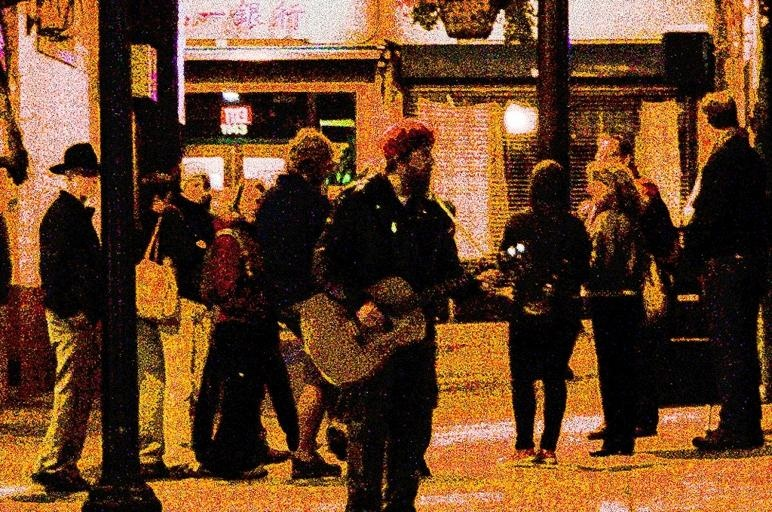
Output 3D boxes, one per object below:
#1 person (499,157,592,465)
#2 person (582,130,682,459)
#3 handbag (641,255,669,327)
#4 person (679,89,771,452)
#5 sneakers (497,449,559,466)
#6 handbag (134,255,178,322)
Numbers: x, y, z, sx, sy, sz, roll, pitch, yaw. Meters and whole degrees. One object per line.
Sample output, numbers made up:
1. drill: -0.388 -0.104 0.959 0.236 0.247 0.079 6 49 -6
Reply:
1. person: 1.671 0.596 17.497 0.900 3.168 0.324 2 -2 -2
2. person: 2.577 0.438 18.164 0.987 3.432 0.757 2 -2 -9
3. handbag: 2.858 0.376 17.926 0.300 0.647 0.108 -7 -1 -30
4. person: 3.646 0.172 17.894 0.830 3.830 0.274 1 -2 12
5. sneakers: 1.515 2.126 17.663 0.538 0.221 0.226 1 -6 3
6. handbag: -2.370 0.362 17.488 0.465 0.597 0.179 1 0 -18
